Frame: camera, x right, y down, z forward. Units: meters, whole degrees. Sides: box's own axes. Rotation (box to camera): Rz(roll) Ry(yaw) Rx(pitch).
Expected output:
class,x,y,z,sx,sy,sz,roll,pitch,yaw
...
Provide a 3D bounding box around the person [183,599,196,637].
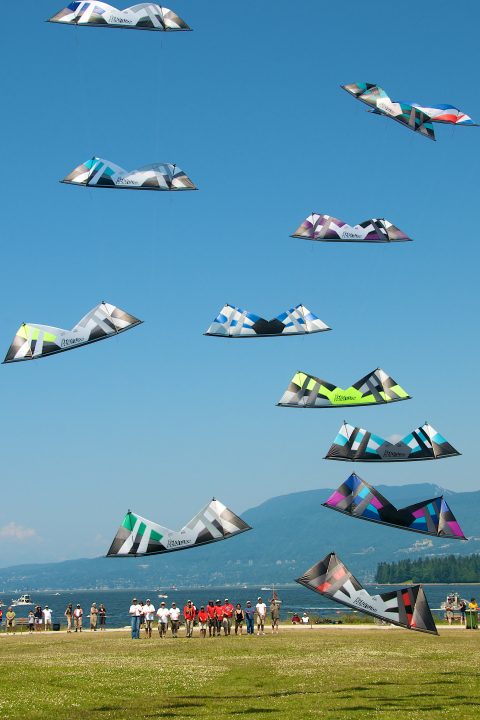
class,x,y,z,sx,sy,sz,roll,pitch,yaw
person,-2.457,12.404,44.041,0.666,1.643,1.153,-14,-3,-6
